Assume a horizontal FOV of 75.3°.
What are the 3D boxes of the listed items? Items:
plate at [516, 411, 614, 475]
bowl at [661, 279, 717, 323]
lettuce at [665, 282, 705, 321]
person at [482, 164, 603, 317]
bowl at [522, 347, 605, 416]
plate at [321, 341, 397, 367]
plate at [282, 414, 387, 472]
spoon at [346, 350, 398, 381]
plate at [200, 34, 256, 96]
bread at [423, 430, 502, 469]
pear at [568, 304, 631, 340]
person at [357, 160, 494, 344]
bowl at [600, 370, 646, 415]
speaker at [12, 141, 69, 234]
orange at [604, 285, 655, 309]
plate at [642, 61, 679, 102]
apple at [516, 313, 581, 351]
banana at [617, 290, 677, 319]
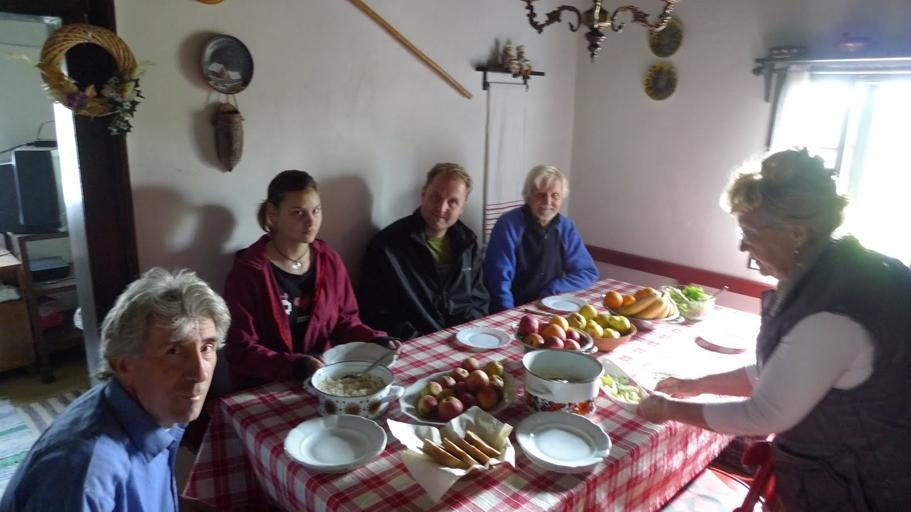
[{"bbox_3d":[0.522,0.891,2.823,0.297,0.059,0.297,16,26,35],"label":"plate"},{"bbox_3d":[1.515,0.292,3.830,0.249,0.134,0.298,-12,20,-37],"label":"bowl"},{"bbox_3d":[1.496,0.301,3.868,0.237,0.160,0.215,7,13,44],"label":"lettuce"},{"bbox_3d":[0.659,-0.109,4.647,0.990,1.254,0.733,-12,27,-19],"label":"person"},{"bbox_3d":[0.544,0.625,2.998,0.326,0.164,0.400,12,16,39],"label":"bowl"},{"bbox_3d":[-0.543,0.538,3.271,0.208,0.027,0.199,5,18,-2],"label":"plate"},{"bbox_3d":[-0.572,0.879,2.797,0.467,0.142,0.240,-1,18,-4],"label":"plate"},{"bbox_3d":[-0.444,0.586,3.067,0.071,0.053,0.375,4,15,20],"label":"spoon"},{"bbox_3d":[-1.483,-1.216,3.803,0.325,0.360,0.088,-7,21,-22],"label":"plate"},{"bbox_3d":[0.043,0.897,2.754,0.223,0.076,0.174,20,-6,13],"label":"bread"},{"bbox_3d":[0.864,0.401,3.491,0.218,0.099,0.238,-7,11,-38],"label":"pear"},{"bbox_3d":[-0.258,0.006,4.242,1.215,1.384,0.827,-5,10,-37],"label":"person"},{"bbox_3d":[0.896,0.719,3.117,0.152,0.067,0.193,-13,28,-22],"label":"bowl"},{"bbox_3d":[-3.421,-0.532,4.830,0.284,0.652,0.352,-7,21,-19],"label":"speaker"},{"bbox_3d":[1.132,0.277,3.732,0.334,0.119,0.132,-9,20,-17],"label":"orange"},{"bbox_3d":[1.799,-1.501,5.123,0.294,0.324,0.073,18,26,41],"label":"plate"},{"bbox_3d":[0.522,0.441,3.359,0.225,0.116,0.222,12,-2,-8],"label":"apple"},{"bbox_3d":[1.212,0.308,3.675,0.245,0.105,0.177,-4,-1,7],"label":"banana"}]
